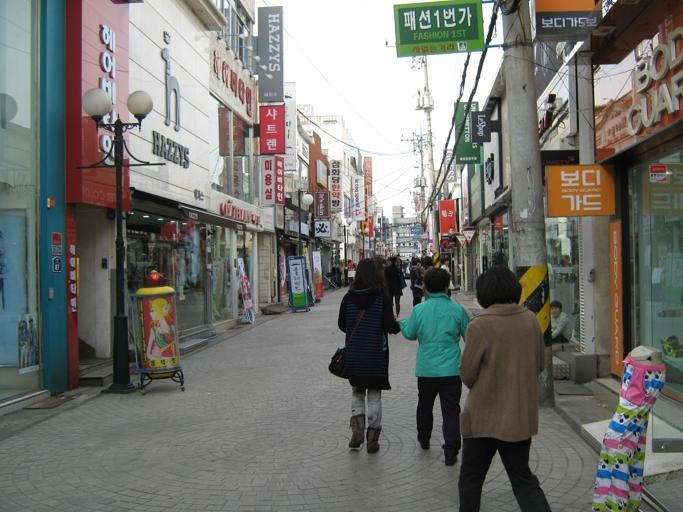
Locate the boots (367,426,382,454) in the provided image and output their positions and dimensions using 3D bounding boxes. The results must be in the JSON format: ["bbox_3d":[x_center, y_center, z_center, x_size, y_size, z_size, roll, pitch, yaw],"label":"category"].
[{"bbox_3d":[0.394,2.360,8.873,0.141,0.326,0.302,2,4,10],"label":"boots"}]

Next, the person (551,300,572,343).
[{"bbox_3d":[4.230,1.279,13.490,0.366,0.800,0.402,0,4,19],"label":"person"}]

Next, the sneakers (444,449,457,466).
[{"bbox_3d":[1.330,2.437,8.546,0.163,0.211,0.229,-1,4,8],"label":"sneakers"}]
